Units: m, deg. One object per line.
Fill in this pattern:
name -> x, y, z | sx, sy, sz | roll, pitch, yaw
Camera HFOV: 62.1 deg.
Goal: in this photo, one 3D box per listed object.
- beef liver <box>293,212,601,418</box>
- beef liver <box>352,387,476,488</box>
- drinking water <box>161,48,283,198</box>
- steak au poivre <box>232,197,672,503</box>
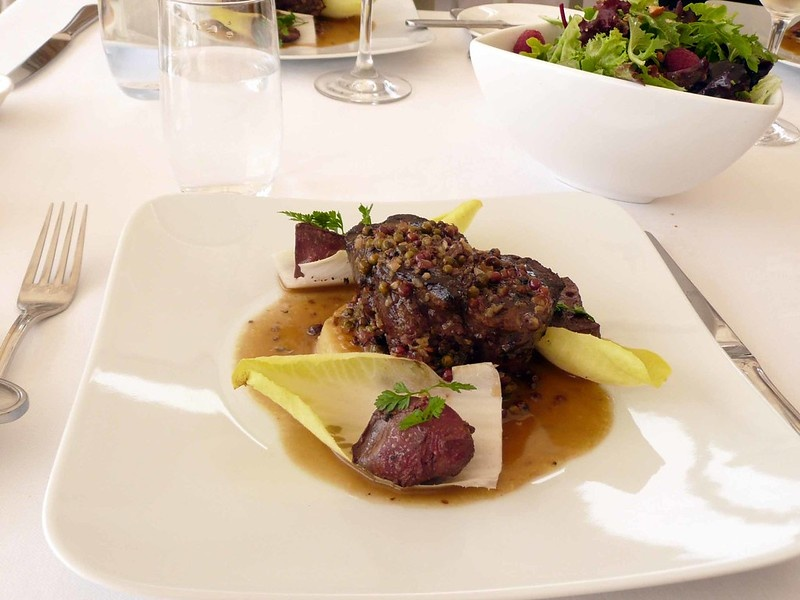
beef liver -> 0.057, -0.012, 1.697 | 0.699, 0.218, 0.403 | 18, 38, 17
beef liver -> 0.018, 0.261, 1.489 | 0.293, 0.176, 0.325 | -2, 20, -15
drinking water -> -0.492, -0.555, 1.991 | 0.420, 0.530, 0.360 | -1, 37, -7
steak au poivre -> 0.118, 0.068, 1.509 | 0.684, 0.432, 0.547 | -2, 25, -7
